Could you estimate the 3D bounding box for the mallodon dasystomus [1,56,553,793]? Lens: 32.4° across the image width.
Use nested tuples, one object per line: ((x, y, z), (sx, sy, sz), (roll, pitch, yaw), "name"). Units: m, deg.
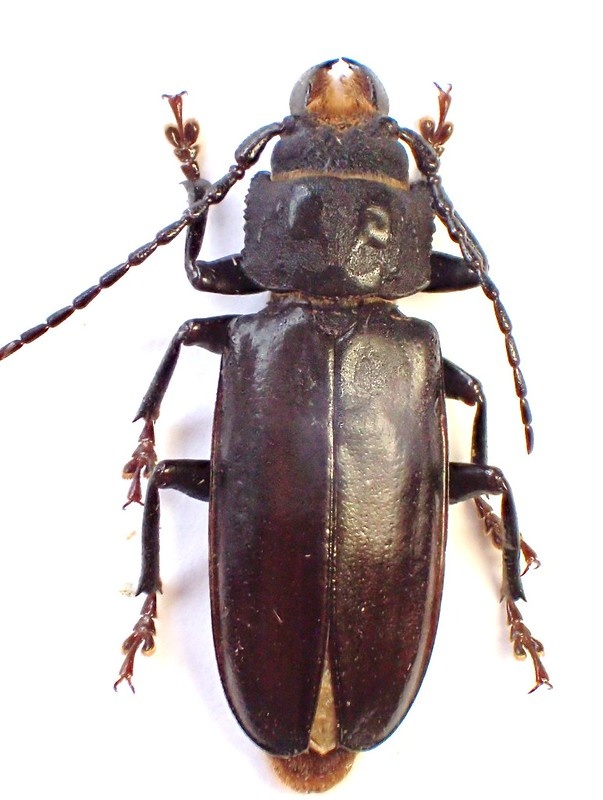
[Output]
((0.123, -0.060, 3.718), (1.318, 2.303, 1.476), (-12, -42, 24), "mallodon dasystomus")
